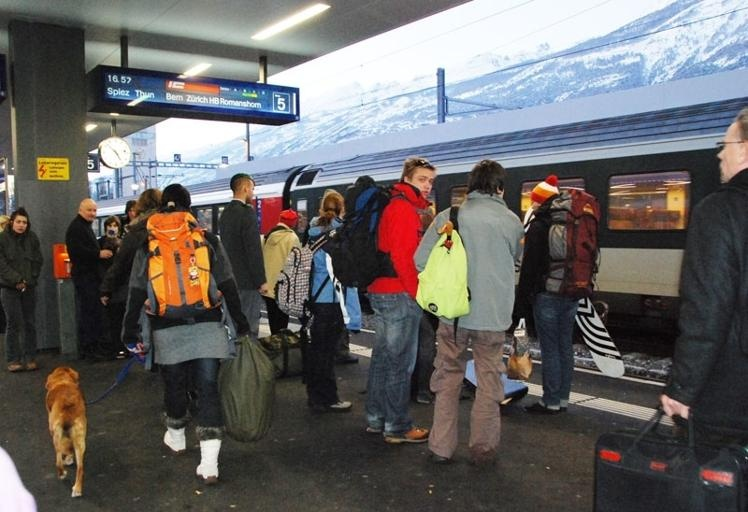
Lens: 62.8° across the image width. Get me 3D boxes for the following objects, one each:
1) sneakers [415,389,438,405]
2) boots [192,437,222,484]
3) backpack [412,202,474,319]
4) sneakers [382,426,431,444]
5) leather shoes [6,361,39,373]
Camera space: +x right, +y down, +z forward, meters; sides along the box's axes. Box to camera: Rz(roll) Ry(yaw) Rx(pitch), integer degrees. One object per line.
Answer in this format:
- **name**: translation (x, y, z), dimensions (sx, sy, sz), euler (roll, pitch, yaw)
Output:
- **sneakers**: translation (0.588, 1.630, 7.115), dimensions (0.304, 0.210, 0.101), euler (1, -3, 0)
- **boots**: translation (-1.478, 1.789, 5.522), dimensions (0.245, 0.477, 0.489), euler (1, -10, -16)
- **backpack**: translation (0.606, 0.126, 5.487), dimensions (0.374, 0.851, 0.340), euler (-4, 8, -21)
- **sneakers**: translation (0.318, 1.737, 6.104), dimensions (0.432, 0.200, 0.167), euler (-3, -1, -8)
- **leather shoes**: translation (-4.899, 1.533, 8.554), dimensions (0.462, 0.198, 0.148), euler (7, -9, -24)
